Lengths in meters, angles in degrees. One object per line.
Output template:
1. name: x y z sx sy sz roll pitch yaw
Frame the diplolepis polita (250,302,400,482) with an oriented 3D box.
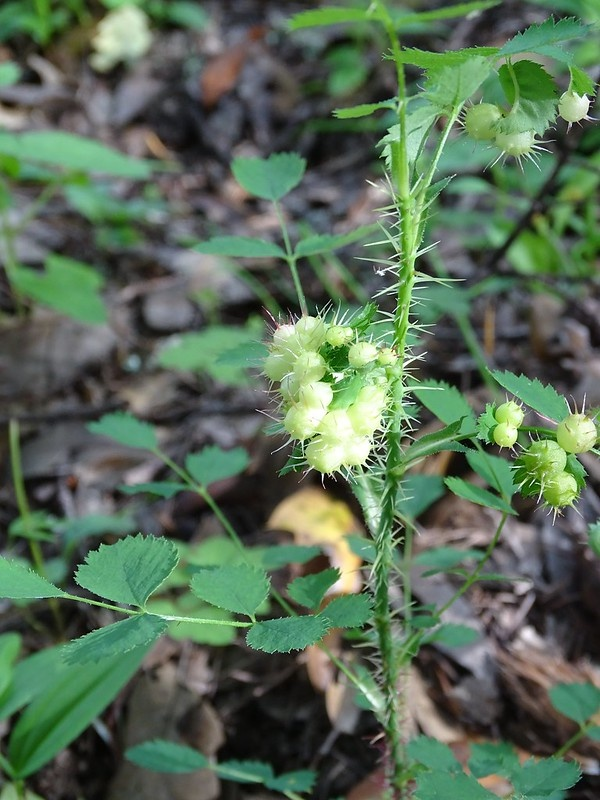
1. diplolepis polita: 0.039 -0.017 0.968 0.165 0.248 0.210 3 49 -5
